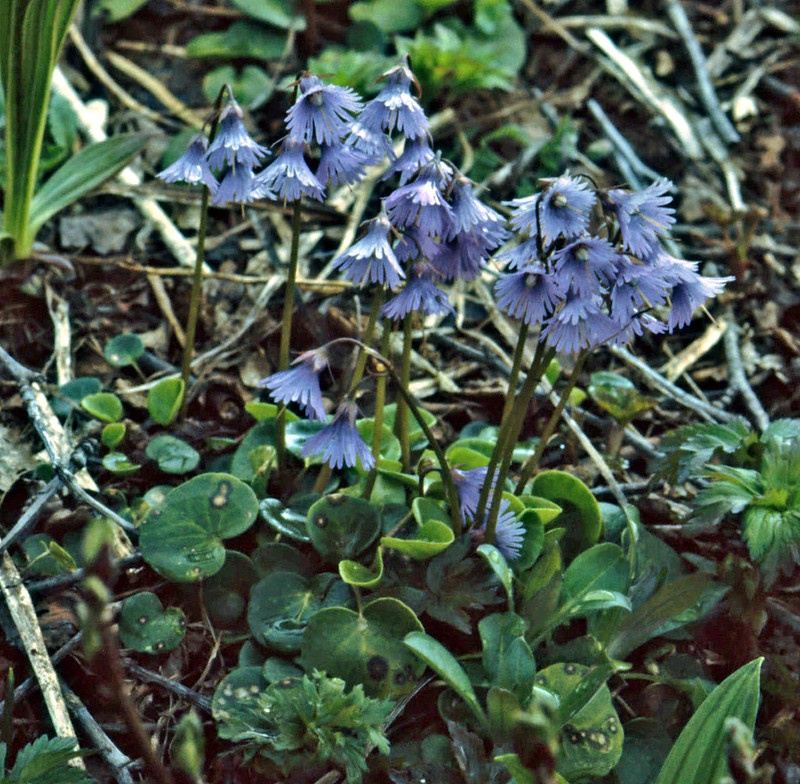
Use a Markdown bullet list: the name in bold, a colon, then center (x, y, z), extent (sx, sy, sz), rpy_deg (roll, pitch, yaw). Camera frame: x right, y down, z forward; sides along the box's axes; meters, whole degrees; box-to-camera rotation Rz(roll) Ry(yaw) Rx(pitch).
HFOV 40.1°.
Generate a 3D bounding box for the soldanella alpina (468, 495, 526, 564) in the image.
- **soldanella alpina**: center (0.215, 0.316, 2.425), extent (0.118, 0.058, 0.122), rpy_deg (-31, 106, -39)
